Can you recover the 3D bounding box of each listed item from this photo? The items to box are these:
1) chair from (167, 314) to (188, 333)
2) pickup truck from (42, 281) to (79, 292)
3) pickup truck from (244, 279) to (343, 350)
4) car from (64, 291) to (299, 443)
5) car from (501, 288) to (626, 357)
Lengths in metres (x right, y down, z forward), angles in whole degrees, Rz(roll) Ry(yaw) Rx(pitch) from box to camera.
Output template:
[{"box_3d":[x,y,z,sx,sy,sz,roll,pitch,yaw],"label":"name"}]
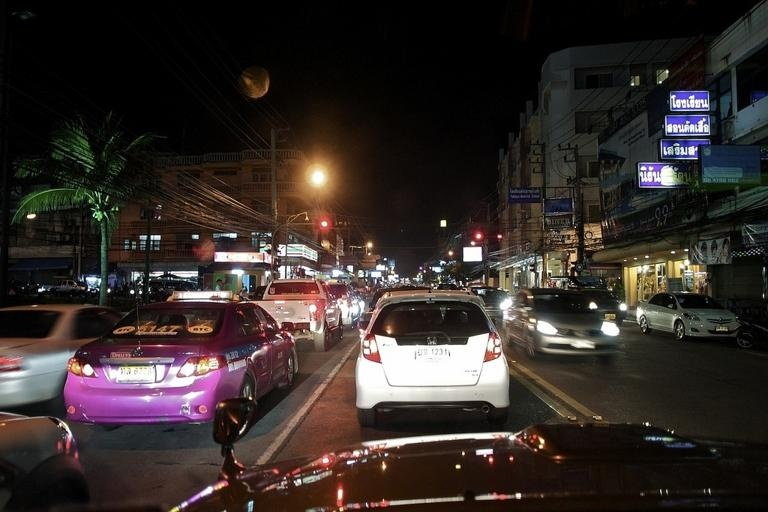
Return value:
[{"box_3d":[-3.552,1.165,10.322,0.304,0.317,0.321,0,-1,14],"label":"chair"},{"box_3d":[-25.626,2.351,47.651,2.652,1.131,5.195,3,-7,-29],"label":"pickup truck"},{"box_3d":[-2.346,1.789,18.188,1.587,1.328,3.015,1,3,9],"label":"pickup truck"},{"box_3d":[-3.213,1.782,10.259,2.089,2.127,3.496,-3,-6,29],"label":"car"},{"box_3d":[4.730,1.816,16.541,1.968,1.880,3.190,1,-6,-12],"label":"car"}]
